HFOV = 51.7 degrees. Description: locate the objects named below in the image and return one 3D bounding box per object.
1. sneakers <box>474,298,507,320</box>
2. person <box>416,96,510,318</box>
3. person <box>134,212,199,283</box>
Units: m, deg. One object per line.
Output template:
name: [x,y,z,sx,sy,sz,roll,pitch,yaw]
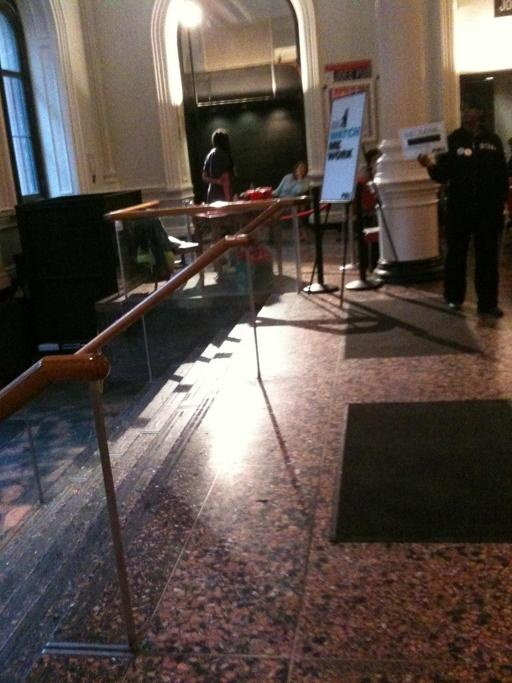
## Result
sneakers: [1.794,-0.260,4.110,0.090,0.191,0.267,-21,13,-32]
person: [1.588,-0.976,4.015,0.557,1.543,0.346,2,19,25]
person: [-1.003,-1.004,5.651,0.479,0.617,0.752,6,21,34]
